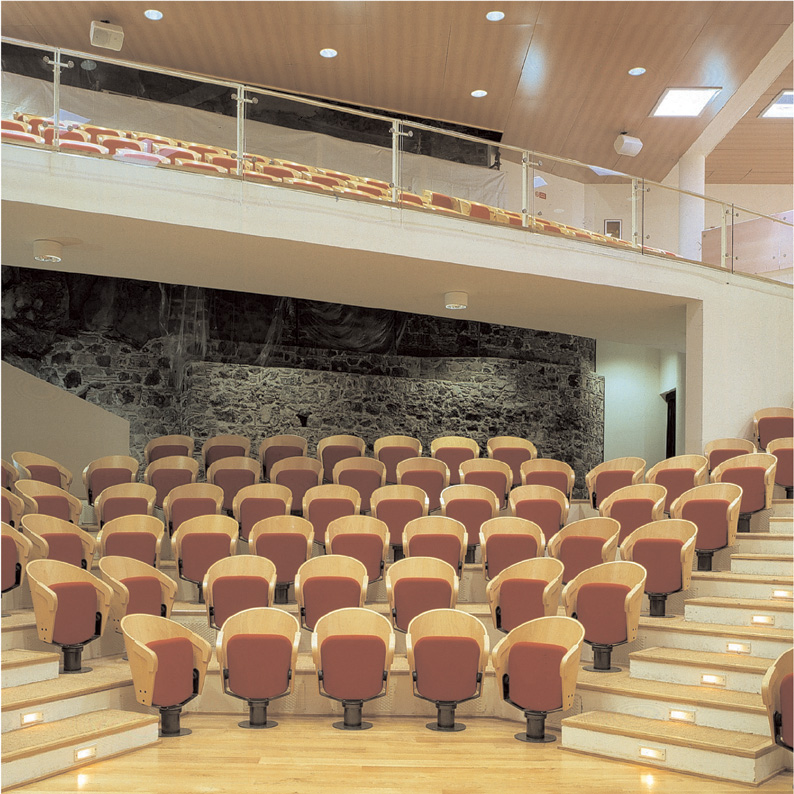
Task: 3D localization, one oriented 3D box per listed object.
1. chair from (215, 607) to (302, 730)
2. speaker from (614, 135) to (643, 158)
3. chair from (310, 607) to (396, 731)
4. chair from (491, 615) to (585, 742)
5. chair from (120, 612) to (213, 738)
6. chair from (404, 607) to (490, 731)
[{"bbox_3d":[-0.821,1.621,4.838,0.515,0.560,0.424,1,-7,-6],"label":"chair"},{"bbox_3d":[3.531,-3.841,12.410,0.440,0.325,0.301,4,23,-28],"label":"speaker"},{"bbox_3d":[-0.248,1.663,4.917,0.529,0.607,0.335,0,-19,3],"label":"chair"},{"bbox_3d":[0.822,1.614,4.651,0.484,0.559,0.455,-2,-10,29],"label":"chair"},{"bbox_3d":[-1.366,1.601,4.656,0.442,0.582,0.471,-7,-11,29],"label":"chair"},{"bbox_3d":[0.290,1.650,4.866,0.522,0.599,0.433,1,-8,1],"label":"chair"}]
